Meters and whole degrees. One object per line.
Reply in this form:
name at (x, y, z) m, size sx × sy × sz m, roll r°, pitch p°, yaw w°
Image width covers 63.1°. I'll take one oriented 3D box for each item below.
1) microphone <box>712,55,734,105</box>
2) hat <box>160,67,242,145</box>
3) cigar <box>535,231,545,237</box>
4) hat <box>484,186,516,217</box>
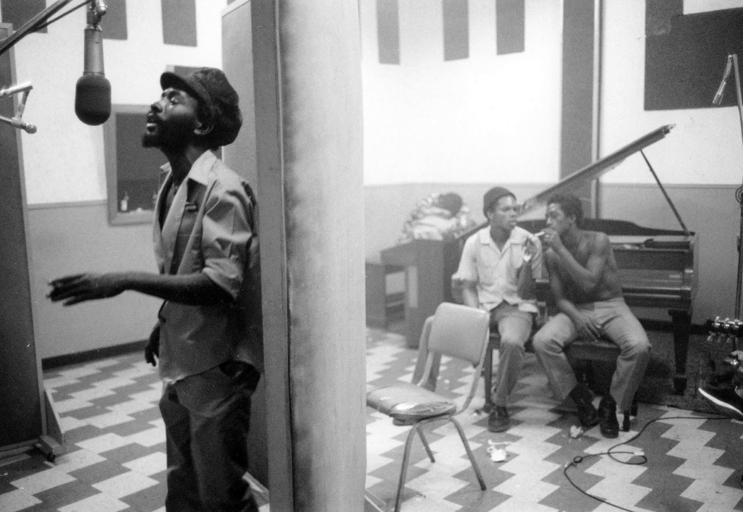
microphone at (0.858, -0.427, 1.473) m, size 0.041 × 0.119 × 0.011 m, roll 0°, pitch 7°, yaw 3°
hat at (-0.450, -0.432, 1.776) m, size 0.122 × 0.176 × 0.232 m, roll 33°, pitch 20°, yaw -14°
cigar at (0.470, -0.062, 1.686) m, size 0.013 × 0.011 × 0.046 m, roll 2°, pitch 2°, yaw -10°
hat at (0.370, -0.159, 1.774) m, size 0.070 × 0.036 × 0.083 m, roll 9°, pitch -35°, yaw -44°
